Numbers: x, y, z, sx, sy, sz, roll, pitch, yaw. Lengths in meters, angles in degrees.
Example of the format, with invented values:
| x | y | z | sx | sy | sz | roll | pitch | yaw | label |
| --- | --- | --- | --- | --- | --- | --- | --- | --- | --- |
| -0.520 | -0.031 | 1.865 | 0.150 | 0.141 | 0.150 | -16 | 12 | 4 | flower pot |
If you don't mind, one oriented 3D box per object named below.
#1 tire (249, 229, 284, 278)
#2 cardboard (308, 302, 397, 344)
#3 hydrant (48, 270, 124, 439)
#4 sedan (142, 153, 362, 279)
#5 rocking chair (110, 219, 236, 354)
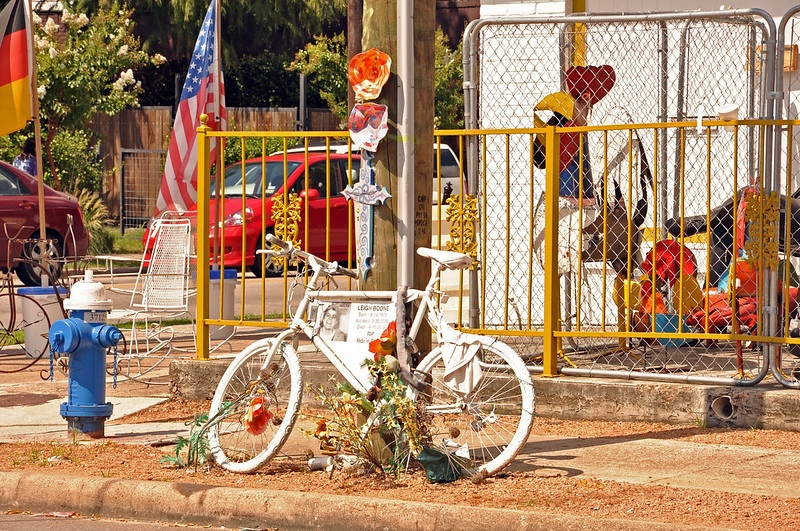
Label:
| x | y | z | sx | sy | sz | roll | pitch | yaw | label |
| --- | --- | --- | --- | --- | --- | --- | --- | --- | --- |
| -1.718 | -0.151 | 20.048 | 0.197 | 0.702 | 0.634 | -2 | -9 | 31 | tire |
| -0.444 | 0.531 | 14.423 | 0.976 | 0.561 | 0.428 | 0 | 2 | 31 | cardboard |
| -3.020 | 0.868 | 15.170 | 0.684 | 1.601 | 0.445 | 1 | 1 | -14 | hydrant |
| -2.161 | -0.864 | 24.153 | 1.961 | 1.599 | 3.231 | 0 | 0 | 34 | sedan |
| -2.768 | 0.217 | 18.002 | 0.868 | 2.164 | 1.079 | 1 | 1 | 30 | rocking chair |
